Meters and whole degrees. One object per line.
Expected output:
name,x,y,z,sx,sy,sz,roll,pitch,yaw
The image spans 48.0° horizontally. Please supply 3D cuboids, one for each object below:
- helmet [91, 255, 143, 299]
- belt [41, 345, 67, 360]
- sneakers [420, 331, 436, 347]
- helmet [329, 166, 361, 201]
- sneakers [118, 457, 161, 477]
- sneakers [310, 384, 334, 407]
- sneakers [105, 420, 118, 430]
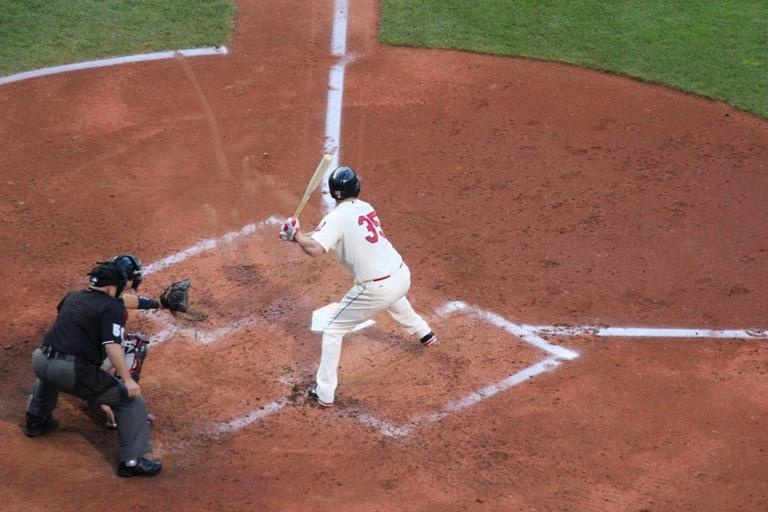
helmet,-3.514,0.296,11.437,0.512,0.457,0.383,-36,48,-19
belt,-4.202,1.248,11.021,0.282,0.080,0.195,25,0,-28
sneakers,0.656,1.261,12.997,0.170,0.257,0.191,45,57,-16
helmet,-0.584,-1.059,12.083,0.442,0.431,0.486,-24,25,4
sneakers,-3.141,2.760,11.220,0.539,0.209,0.221,-3,35,-8
sneakers,-0.913,2.019,12.266,0.483,0.192,0.175,32,57,23
sneakers,-3.669,2.295,11.658,0.161,0.054,0.161,29,29,29
